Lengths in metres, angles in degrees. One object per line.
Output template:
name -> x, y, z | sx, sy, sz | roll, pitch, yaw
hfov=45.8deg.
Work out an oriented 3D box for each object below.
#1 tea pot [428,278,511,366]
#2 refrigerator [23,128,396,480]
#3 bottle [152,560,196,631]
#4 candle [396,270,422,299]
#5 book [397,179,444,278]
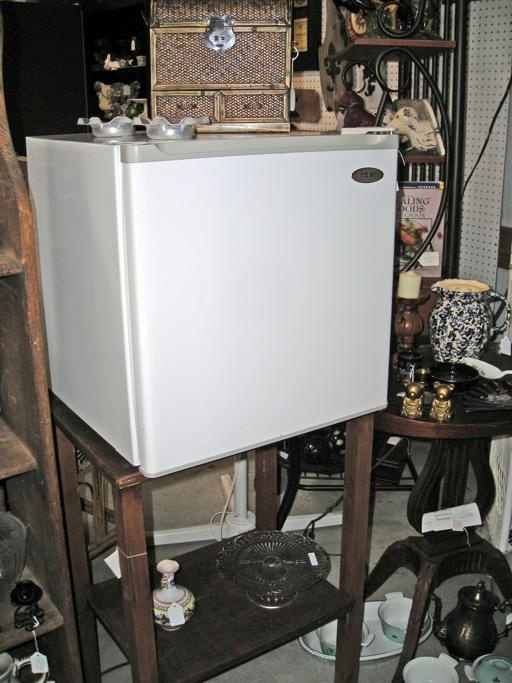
tea pot -> 0.553, -0.058, 1.665 | 0.273, 0.249, 0.193 | 3, 21, 10
refrigerator -> -0.031, -0.080, 1.217 | 0.735, 0.679, 0.556 | -15, 29, -36
bottle -> -0.171, 0.504, 1.234 | 0.082, 0.122, 0.093 | -1, 10, 12
candle -> 0.406, -0.150, 1.609 | 0.073, 0.074, 0.070 | 0, 12, 1
book -> 0.576, -0.381, 2.087 | 0.312, 0.333, 0.118 | -13, 14, -43
